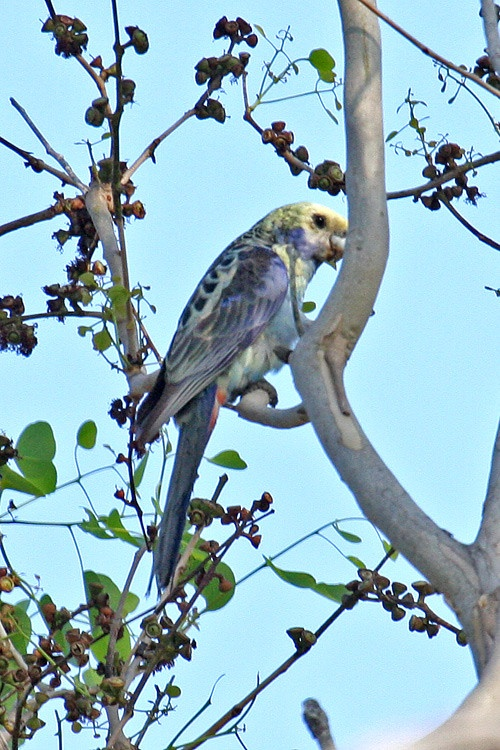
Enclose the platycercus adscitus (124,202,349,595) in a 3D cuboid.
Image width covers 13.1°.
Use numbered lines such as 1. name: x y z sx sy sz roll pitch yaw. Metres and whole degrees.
1. platycercus adscitus: -0.033 0.100 6.212 0.562 1.295 0.308 4 -25 1
